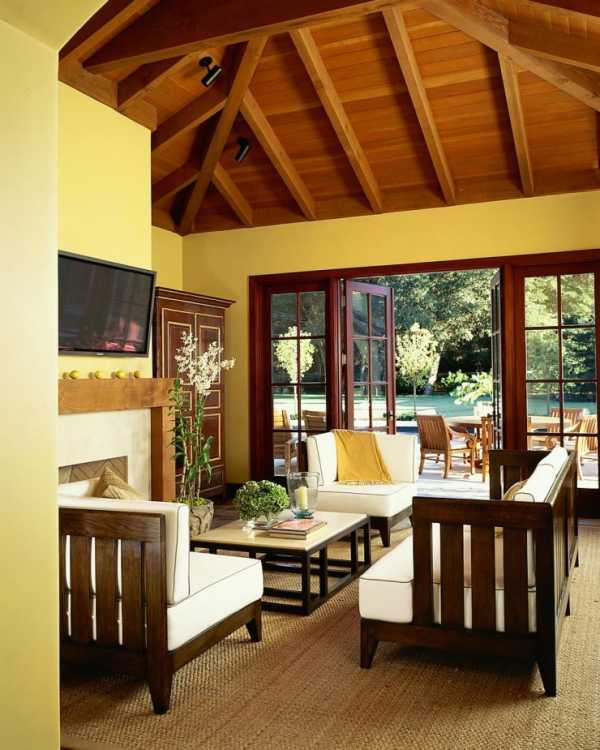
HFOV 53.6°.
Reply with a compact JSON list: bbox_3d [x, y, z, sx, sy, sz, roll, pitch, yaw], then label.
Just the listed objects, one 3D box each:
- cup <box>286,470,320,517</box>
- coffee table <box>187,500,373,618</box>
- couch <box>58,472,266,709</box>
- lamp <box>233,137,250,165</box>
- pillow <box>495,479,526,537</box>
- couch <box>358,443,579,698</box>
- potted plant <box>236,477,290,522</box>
[{"bbox_3d":[0.030,0.760,3.693,0.237,0.262,0.233,-1,-7,0],"label":"cup"},{"bbox_3d":[-0.100,1.119,3.532,0.607,0.351,0.854,0,3,25],"label":"coffee table"},{"bbox_3d":[-0.553,0.898,2.453,0.807,0.779,0.579,0,-3,-23],"label":"couch"},{"bbox_3d":[-0.557,-2.178,5.717,0.180,0.298,0.108,6,5,28],"label":"lamp"},{"bbox_3d":[1.000,0.606,2.804,0.066,0.265,0.280,9,25,19],"label":"pillow"},{"bbox_3d":[1.145,1.116,3.005,1.648,0.689,0.977,22,-26,-38],"label":"couch"},{"bbox_3d":[-0.227,0.741,3.597,0.291,0.205,0.251,-1,2,-12],"label":"potted plant"}]
